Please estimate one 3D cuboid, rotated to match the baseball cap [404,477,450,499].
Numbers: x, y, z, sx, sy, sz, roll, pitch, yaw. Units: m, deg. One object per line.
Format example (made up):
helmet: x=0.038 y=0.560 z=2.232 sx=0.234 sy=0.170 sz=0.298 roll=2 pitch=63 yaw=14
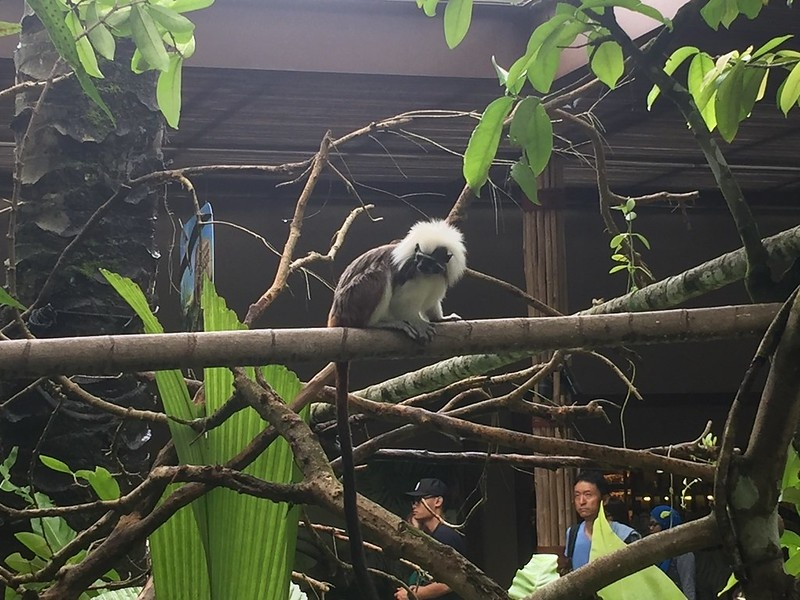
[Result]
baseball cap: x=0.217 y=1.398 z=8.436 sx=0.233 sy=0.120 sz=0.164 roll=2 pitch=-10 yaw=-15
